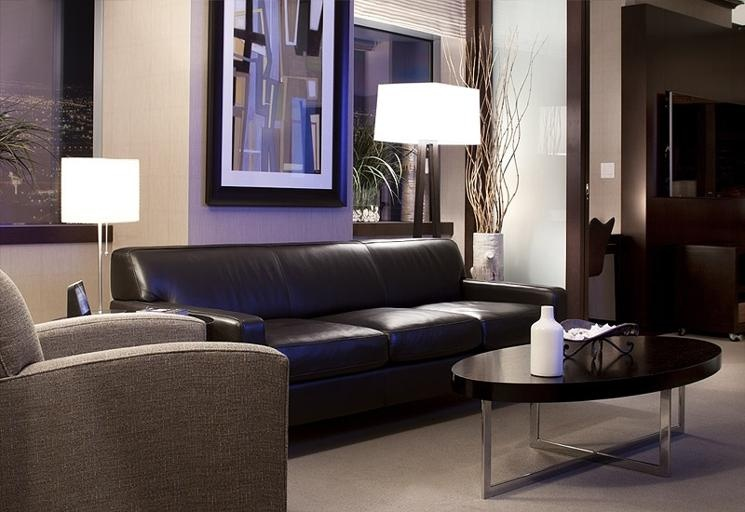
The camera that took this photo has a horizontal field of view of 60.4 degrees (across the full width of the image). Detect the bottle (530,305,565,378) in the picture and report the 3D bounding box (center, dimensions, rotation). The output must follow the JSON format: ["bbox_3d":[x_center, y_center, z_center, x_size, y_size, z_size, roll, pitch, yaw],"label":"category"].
[{"bbox_3d":[0.758,0.361,2.761,0.142,0.290,0.222,2,7,16],"label":"bottle"}]

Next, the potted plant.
[{"bbox_3d":[0.075,-0.723,5.923,0.736,1.008,0.916,1,-2,-15],"label":"potted plant"}]

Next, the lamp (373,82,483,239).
[{"bbox_3d":[0.396,-0.695,4.710,0.680,1.135,0.437,-4,8,-35],"label":"lamp"}]

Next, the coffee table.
[{"bbox_3d":[1.030,0.731,3.029,1.458,0.567,0.711,-3,7,-33],"label":"coffee table"}]
